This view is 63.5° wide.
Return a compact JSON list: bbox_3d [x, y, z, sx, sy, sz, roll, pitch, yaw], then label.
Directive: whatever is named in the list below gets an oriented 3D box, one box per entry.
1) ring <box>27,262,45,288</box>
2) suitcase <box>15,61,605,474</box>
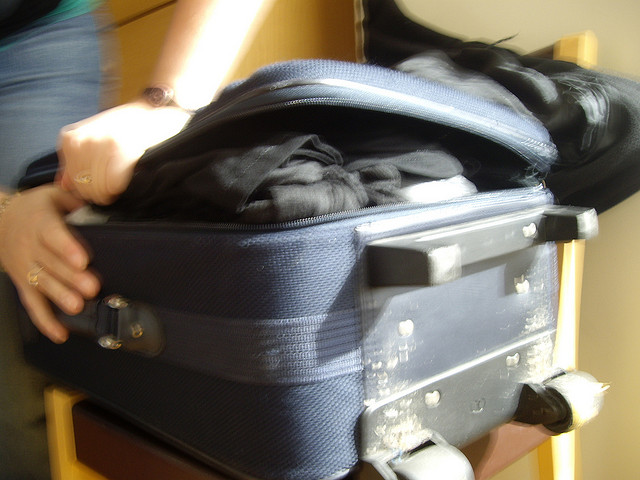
[{"bbox_3d":[-0.381,0.043,0.693,0.017,0.022,0.023,34,68,2],"label":"ring"},{"bbox_3d":[-0.018,0.056,0.663,0.554,0.294,0.492,11,17,39],"label":"suitcase"}]
